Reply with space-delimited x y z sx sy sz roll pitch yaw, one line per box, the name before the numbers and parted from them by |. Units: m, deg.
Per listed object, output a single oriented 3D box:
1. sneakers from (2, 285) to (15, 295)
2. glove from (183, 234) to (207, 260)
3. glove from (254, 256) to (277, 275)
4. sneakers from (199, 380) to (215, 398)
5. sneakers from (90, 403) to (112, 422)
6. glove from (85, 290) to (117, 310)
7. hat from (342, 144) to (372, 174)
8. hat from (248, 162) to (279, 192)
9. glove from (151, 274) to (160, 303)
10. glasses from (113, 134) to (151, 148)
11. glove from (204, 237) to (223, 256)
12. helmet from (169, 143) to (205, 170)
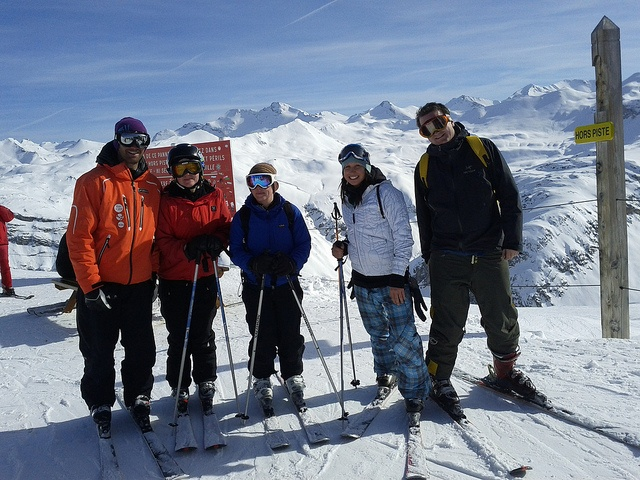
sneakers | -6.817 1.121 12.361 0.248 0.203 0.175 -7 14 -15
glove | -1.455 0.085 6.630 0.300 0.114 0.220 -42 42 0
glove | -0.645 0.286 6.648 0.240 0.214 0.130 -5 14 -7
sneakers | -1.335 1.779 6.805 0.210 0.206 0.154 -4 -2 -8
sneakers | -2.498 1.952 6.438 0.166 0.197 0.212 4 -8 -35
glove | -2.423 0.672 6.298 0.285 0.217 0.148 -11 -11 -6
hat | 0.424 -0.933 6.662 0.254 0.332 0.257 -9 35 12
hat | -0.642 -0.739 6.693 0.283 0.324 0.361 -4 1 14
glove | -1.967 0.587 6.826 0.098 0.285 0.208 4 -6 -30
glasses | -2.141 -1.134 6.504 0.363 0.197 0.173 -10 15 -23
glove | -1.241 0.091 6.629 0.172 0.218 0.073 -7 21 -9
helmet | -1.603 -0.968 6.769 0.271 0.363 0.311 -2 1 -5
